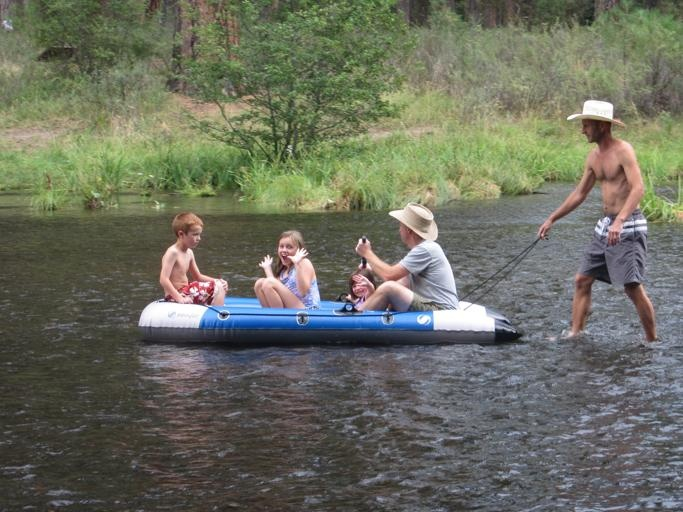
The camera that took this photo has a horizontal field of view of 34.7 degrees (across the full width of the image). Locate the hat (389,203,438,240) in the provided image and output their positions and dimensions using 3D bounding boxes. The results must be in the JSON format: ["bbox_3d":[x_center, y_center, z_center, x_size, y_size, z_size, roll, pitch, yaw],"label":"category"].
[{"bbox_3d":[0.767,-0.352,11.325,0.451,0.402,0.239,-2,8,-1],"label":"hat"}]

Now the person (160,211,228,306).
[{"bbox_3d":[-1.568,0.038,11.501,0.668,0.983,0.311,-3,9,-8],"label":"person"}]

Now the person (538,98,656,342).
[{"bbox_3d":[2.692,-0.354,11.095,0.914,2.490,0.444,6,12,42],"label":"person"}]
